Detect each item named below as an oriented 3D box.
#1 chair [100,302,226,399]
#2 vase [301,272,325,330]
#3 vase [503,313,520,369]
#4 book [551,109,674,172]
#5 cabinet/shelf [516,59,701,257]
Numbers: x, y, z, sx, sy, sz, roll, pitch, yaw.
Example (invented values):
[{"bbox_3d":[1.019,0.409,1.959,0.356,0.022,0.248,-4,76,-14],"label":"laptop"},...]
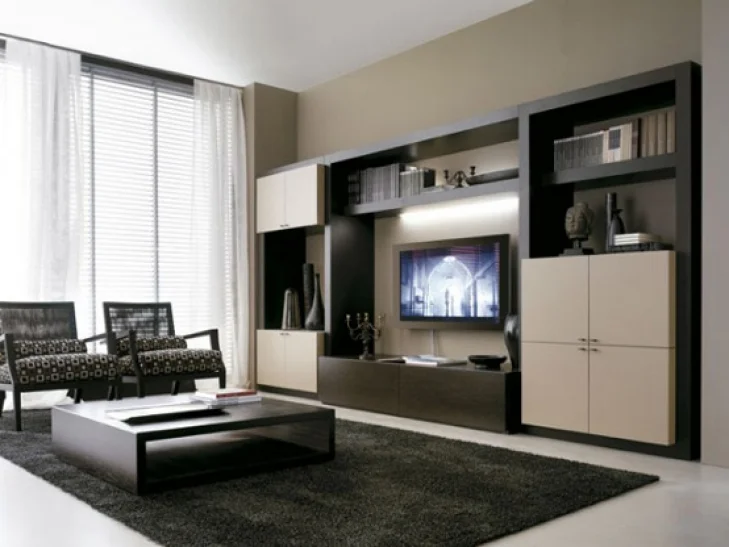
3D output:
[{"bbox_3d":[-1.706,0.600,5.349,0.863,1.177,1.002,3,-9,-40],"label":"chair"},{"bbox_3d":[-0.507,0.276,6.042,0.171,0.533,0.587,0,2,-5],"label":"vase"},{"bbox_3d":[1.082,0.508,4.427,0.090,0.396,0.214,1,2,2],"label":"vase"},{"bbox_3d":[1.670,-0.879,4.067,0.116,0.303,0.818,-1,3,-38],"label":"book"},{"bbox_3d":[1.689,-0.739,4.098,0.391,1.379,1.338,4,-4,-36],"label":"cabinet/shelf"}]
